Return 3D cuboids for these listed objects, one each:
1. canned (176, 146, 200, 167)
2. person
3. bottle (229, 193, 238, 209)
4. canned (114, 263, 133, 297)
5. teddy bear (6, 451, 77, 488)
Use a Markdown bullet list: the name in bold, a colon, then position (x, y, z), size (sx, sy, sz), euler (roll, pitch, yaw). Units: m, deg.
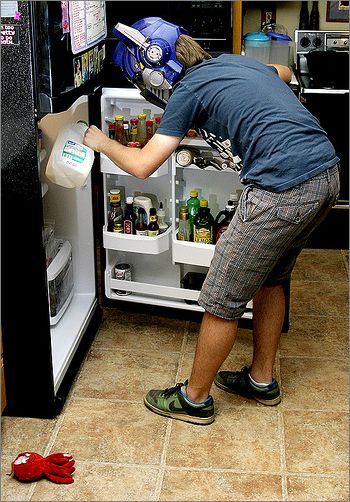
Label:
- **canned**: position (0.055, -0.361, 1.623), size (0.074, 0.073, 0.084), euler (3, 20, 14)
- **person**: position (0.120, -0.016, 1.267), size (0.640, 1.208, 0.308), euler (9, 24, 18)
- **bottle**: position (0.228, -0.197, 1.684), size (0.045, 0.060, 0.045), euler (-3, 20, 1)
- **canned**: position (-0.242, 0.132, 1.950), size (0.116, 0.168, 0.109), euler (-1, 38, -2)
- **teddy bear**: position (-0.363, 0.591, 1.167), size (0.133, 0.031, 0.084), euler (5, 28, -6)
